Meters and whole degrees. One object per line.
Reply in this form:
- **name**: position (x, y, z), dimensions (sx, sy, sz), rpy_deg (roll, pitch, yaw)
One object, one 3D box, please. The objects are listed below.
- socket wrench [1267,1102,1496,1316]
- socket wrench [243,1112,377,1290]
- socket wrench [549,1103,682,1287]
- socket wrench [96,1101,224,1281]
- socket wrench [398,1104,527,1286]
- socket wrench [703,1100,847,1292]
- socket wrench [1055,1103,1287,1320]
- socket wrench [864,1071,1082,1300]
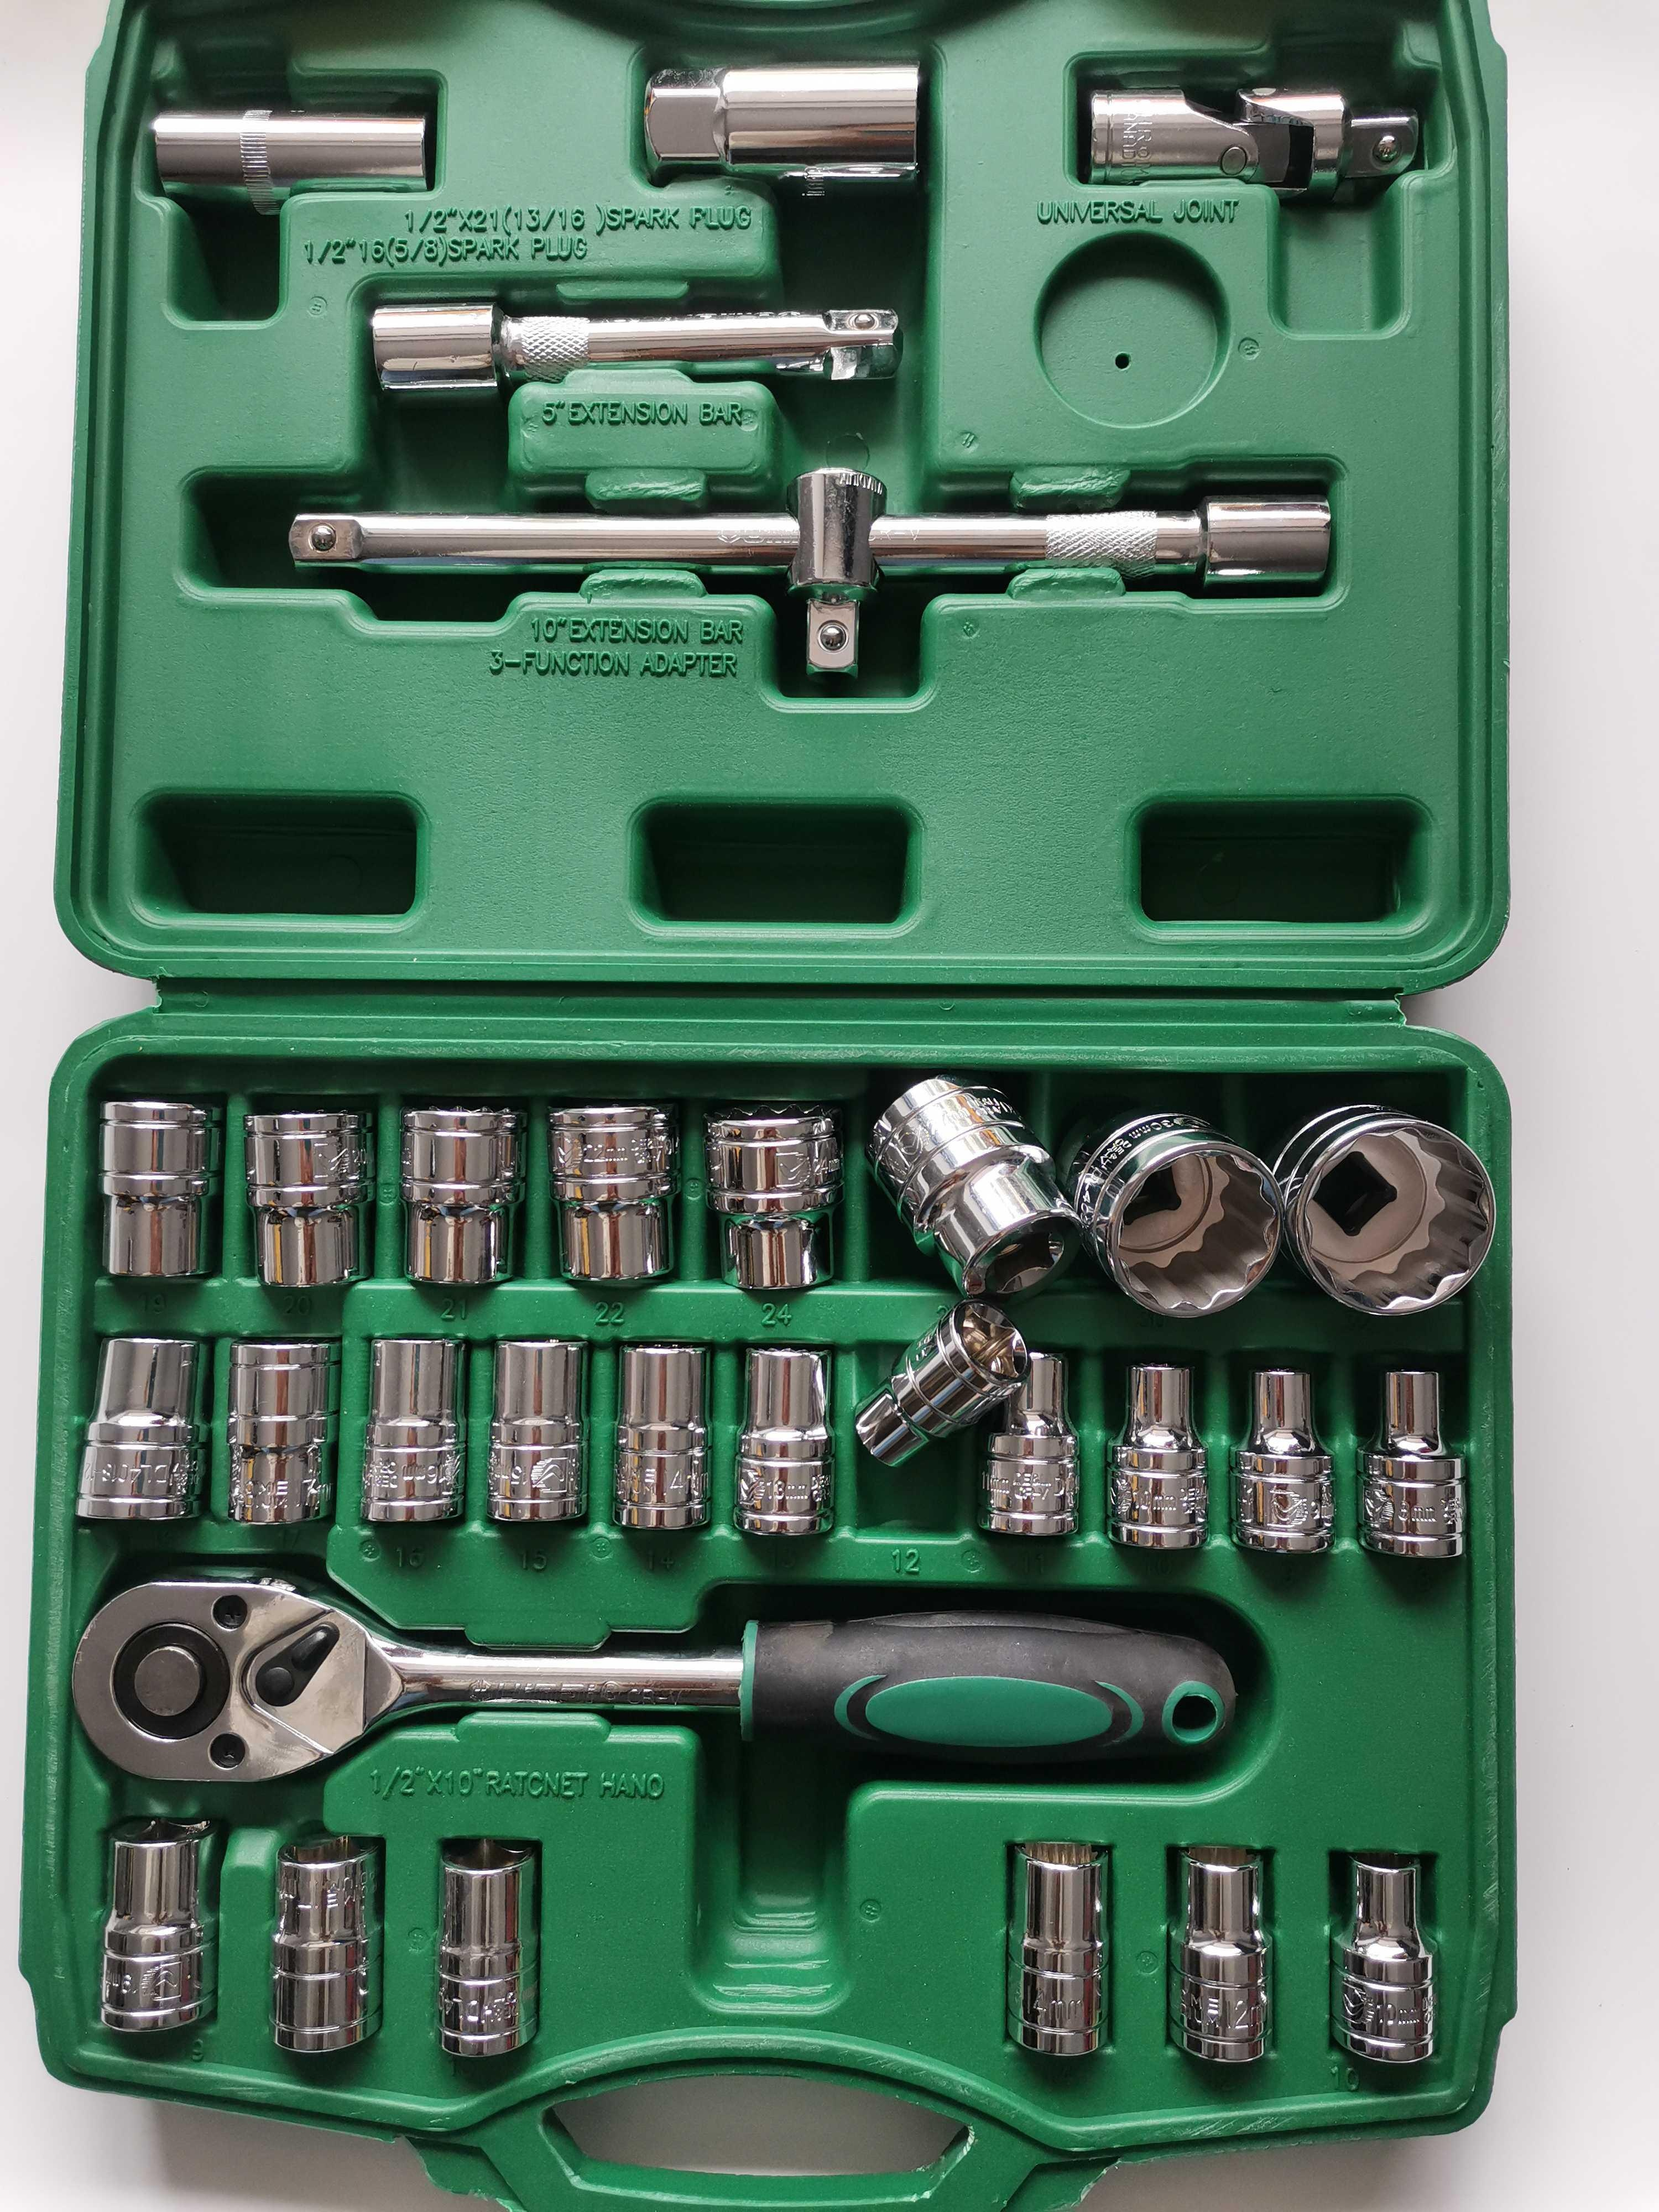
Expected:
- **socket wrench**: position (0.318, 0.062, 1.466), dimensions (0.114, 0.110, 0.127), rpy_deg (-1, 106, -2)
- **socket wrench**: position (-0.309, 0.045, 1.502), dimensions (0.075, 0.110, 0.070), rpy_deg (-3, 18, -20)
- **socket wrench**: position (-0.132, 0.049, 1.501), dimensions (0.077, 0.070, 0.111), rpy_deg (-3, 97, -9)
- **socket wrench**: position (-0.404, 0.043, 1.499), dimensions (0.069, 0.112, 0.069), rpy_deg (-1, 16, -20)
- **socket wrench**: position (-0.221, 0.048, 1.500), dimensions (0.076, 0.074, 0.114), rpy_deg (8, 101, 17)
- **socket wrench**: position (-0.032, 0.051, 1.499), dimensions (0.081, 0.111, 0.080), rpy_deg (-14, 18, -42)
- **socket wrench**: position (0.203, 0.063, 1.451), dimensions (0.129, 0.104, 0.102), rpy_deg (36, 99, 14)
- **socket wrench**: position (0.084, 0.048, 1.479), dimensions (0.095, 0.134, 0.121), rpy_deg (-29, 64, -12)
